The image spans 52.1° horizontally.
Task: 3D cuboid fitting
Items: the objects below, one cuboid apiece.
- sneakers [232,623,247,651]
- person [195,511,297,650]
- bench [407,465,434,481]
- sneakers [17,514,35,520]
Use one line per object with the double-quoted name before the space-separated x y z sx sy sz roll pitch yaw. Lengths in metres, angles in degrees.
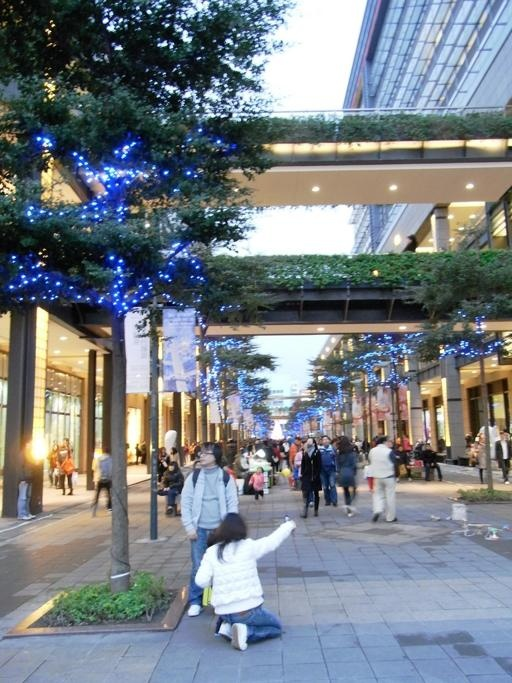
"sneakers" -0.120 2.233 3.971 0.086 0.230 0.100 -1 34 -4
"person" -0.073 1.885 4.199 0.815 0.922 0.603 5 -18 -14
"bench" 7.375 5.875 23.466 0.794 0.522 1.119 -1 -5 14
"sneakers" -6.399 4.885 14.554 0.305 0.100 0.196 -4 -7 8
